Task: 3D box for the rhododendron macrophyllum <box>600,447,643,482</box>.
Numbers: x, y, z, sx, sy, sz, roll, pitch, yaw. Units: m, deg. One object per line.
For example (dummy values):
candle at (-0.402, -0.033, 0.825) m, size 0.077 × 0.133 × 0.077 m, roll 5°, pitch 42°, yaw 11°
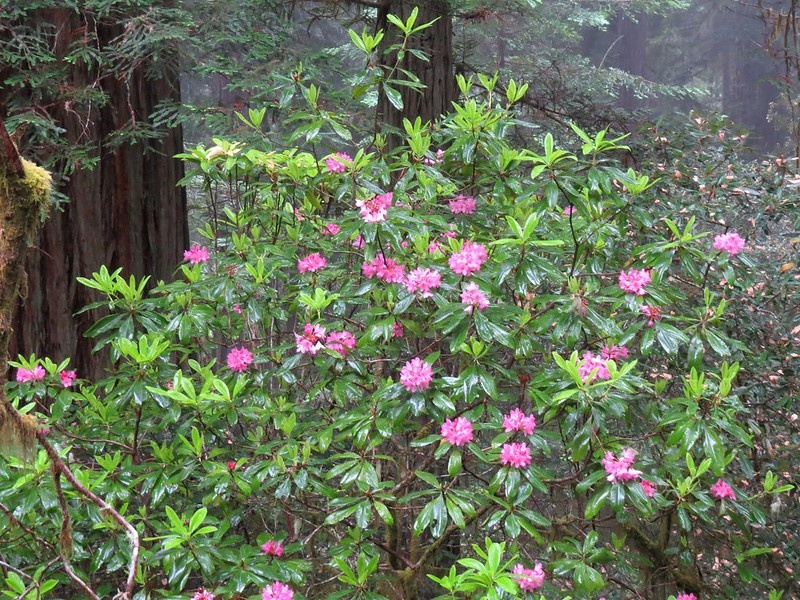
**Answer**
rhododendron macrophyllum at (1.152, 0.840, 5.758) m, size 0.195 × 0.169 × 0.158 m, roll 2°, pitch 22°, yaw -3°
